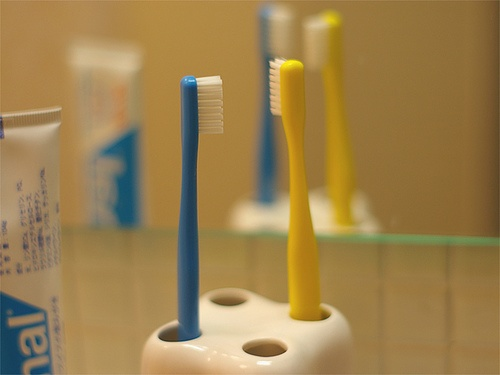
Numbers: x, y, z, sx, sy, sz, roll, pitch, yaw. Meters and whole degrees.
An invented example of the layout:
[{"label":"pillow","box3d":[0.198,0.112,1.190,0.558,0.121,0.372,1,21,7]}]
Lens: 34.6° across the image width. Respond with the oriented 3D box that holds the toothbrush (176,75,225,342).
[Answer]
[{"label":"toothbrush","box3d":[-0.050,0.020,0.790,0.048,0.255,0.057,-1,-7,-8]}]
